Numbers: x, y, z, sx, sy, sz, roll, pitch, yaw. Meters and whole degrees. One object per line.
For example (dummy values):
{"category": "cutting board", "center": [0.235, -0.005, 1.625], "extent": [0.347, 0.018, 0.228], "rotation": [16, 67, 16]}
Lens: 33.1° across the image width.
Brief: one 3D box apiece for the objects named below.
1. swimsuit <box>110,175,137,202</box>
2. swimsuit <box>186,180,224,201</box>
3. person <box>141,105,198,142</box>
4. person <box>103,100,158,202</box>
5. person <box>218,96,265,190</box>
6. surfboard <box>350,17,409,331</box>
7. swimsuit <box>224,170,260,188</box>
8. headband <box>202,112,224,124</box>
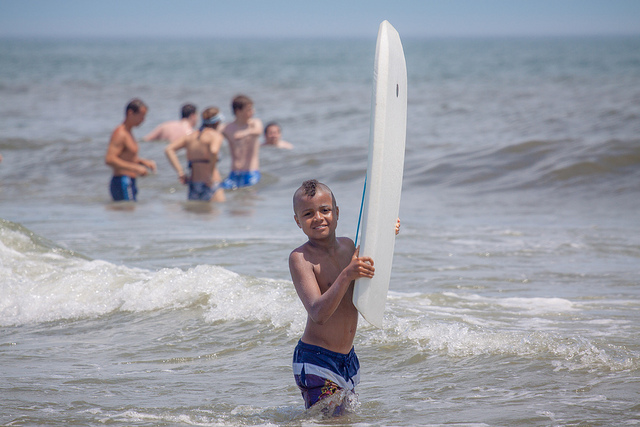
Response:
{"category": "swimsuit", "center": [-3.649, -0.415, 19.421], "extent": [0.613, 0.464, 0.397], "rotation": [-4, -14, -30]}
{"category": "swimsuit", "center": [-2.014, -0.428, 19.079], "extent": [0.403, 0.281, 0.495], "rotation": [8, 8, 17]}
{"category": "person", "center": [-2.818, -1.670, 20.859], "extent": [0.807, 0.546, 1.639], "rotation": [-12, 17, -43]}
{"category": "person", "center": [-3.431, -1.084, 19.858], "extent": [0.979, 2.333, 0.885], "rotation": [-1, 52, -5]}
{"category": "person", "center": [-1.393, -1.309, 19.709], "extent": [0.710, 1.650, 0.642], "rotation": [-1, 12, -5]}
{"category": "surfboard", "center": [0.836, -0.544, 14.910], "extent": [0.594, 4.175, 1.117], "rotation": [3, 13, 15]}
{"category": "swimsuit", "center": [-1.441, -0.658, 19.923], "extent": [0.306, 0.311, 0.880], "rotation": [10, 14, 41]}
{"category": "headband", "center": [-1.837, -1.648, 18.914], "extent": [0.278, 0.105, 0.206], "rotation": [-18, 5, 24]}
